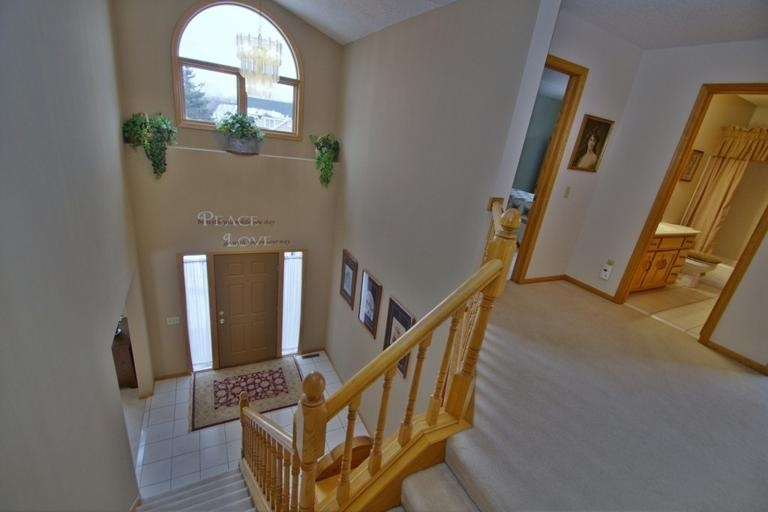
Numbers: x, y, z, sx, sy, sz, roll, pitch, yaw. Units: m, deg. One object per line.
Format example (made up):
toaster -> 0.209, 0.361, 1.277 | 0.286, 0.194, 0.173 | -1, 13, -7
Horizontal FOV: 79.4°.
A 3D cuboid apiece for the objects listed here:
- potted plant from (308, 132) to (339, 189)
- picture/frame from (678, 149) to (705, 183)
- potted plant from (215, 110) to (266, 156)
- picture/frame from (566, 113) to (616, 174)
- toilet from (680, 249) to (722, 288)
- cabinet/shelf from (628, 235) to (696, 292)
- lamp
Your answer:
potted plant -> -0.889, -1.456, 7.036 | 0.432, 0.807, 0.365 | 1, 15, -6
picture/frame -> 4.273, -1.265, 6.432 | 0.358, 0.449, 0.155 | -10, 20, -39
potted plant -> -1.998, -1.709, 6.543 | 0.525, 0.539, 0.580 | 0, 14, -17
picture/frame -> 2.244, -1.266, 5.055 | 0.593, 0.689, 0.047 | -8, 26, -30
toilet -> 4.126, 0.123, 6.159 | 0.429, 0.457, 0.494 | -10, 20, -25
cabinet/shelf -> 3.300, 0.018, 5.730 | 0.911, 0.769, 0.439 | -5, 26, -25
lamp -> -1.499, -2.306, 5.574 | 0.526, 0.695, 0.191 | -1, 16, -16
